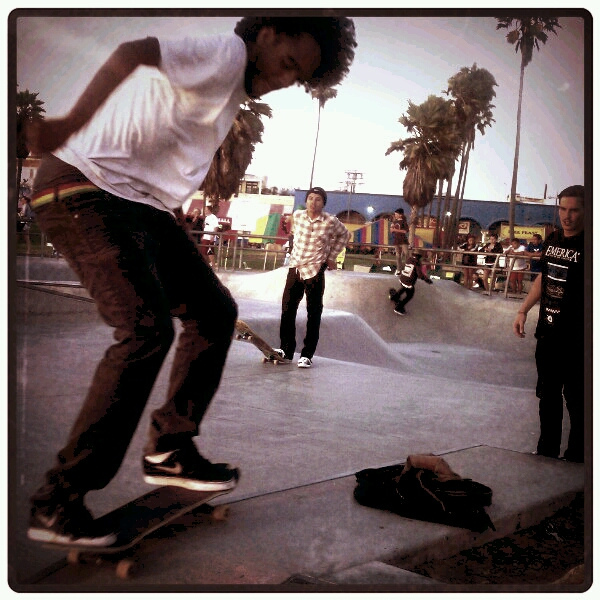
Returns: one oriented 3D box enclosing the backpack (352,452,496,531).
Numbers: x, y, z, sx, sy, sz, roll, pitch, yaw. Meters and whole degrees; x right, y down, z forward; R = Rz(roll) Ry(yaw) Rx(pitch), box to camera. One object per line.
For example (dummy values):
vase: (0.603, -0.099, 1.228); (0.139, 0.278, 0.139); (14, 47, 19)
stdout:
backpack: (0.470, 0.728, 1.966); (0.346, 0.153, 0.279); (7, -5, 21)

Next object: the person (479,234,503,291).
person: (4.537, -0.895, 12.361); (0.507, 0.943, 1.334); (4, 3, 20)

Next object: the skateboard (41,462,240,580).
skateboard: (-0.413, 0.625, 1.582); (0.199, 0.128, 0.726); (12, 9, 29)

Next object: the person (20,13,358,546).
person: (-0.359, -0.161, 1.645); (0.886, 1.681, 0.345); (1, 3, -36)

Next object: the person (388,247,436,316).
person: (2.278, -0.357, 10.744); (0.667, 1.377, 1.189); (4, 3, 22)

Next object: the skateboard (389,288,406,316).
skateboard: (1.941, 0.040, 10.383); (0.165, 0.484, 0.335); (-3, -15, 14)

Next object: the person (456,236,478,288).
person: (4.224, -0.949, 13.150); (0.465, 0.876, 1.076); (4, 3, 18)
